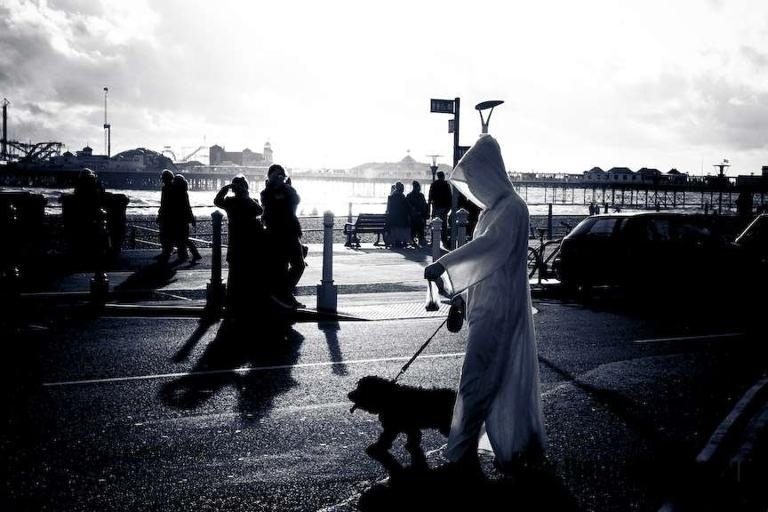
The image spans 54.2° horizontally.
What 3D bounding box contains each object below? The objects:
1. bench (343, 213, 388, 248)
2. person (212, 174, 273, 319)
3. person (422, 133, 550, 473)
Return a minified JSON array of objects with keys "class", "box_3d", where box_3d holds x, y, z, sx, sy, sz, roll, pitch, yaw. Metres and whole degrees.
[{"class":"bench","box_3d":[-0.499,-0.835,25.216,1.413,1.057,0.684,1,-23,37]},{"class":"person","box_3d":[-2.229,-0.065,12.044,0.641,1.849,1.018,-2,12,-13]},{"class":"person","box_3d":[1.054,0.421,7.202,1.040,3.089,0.763,1,12,4]}]
